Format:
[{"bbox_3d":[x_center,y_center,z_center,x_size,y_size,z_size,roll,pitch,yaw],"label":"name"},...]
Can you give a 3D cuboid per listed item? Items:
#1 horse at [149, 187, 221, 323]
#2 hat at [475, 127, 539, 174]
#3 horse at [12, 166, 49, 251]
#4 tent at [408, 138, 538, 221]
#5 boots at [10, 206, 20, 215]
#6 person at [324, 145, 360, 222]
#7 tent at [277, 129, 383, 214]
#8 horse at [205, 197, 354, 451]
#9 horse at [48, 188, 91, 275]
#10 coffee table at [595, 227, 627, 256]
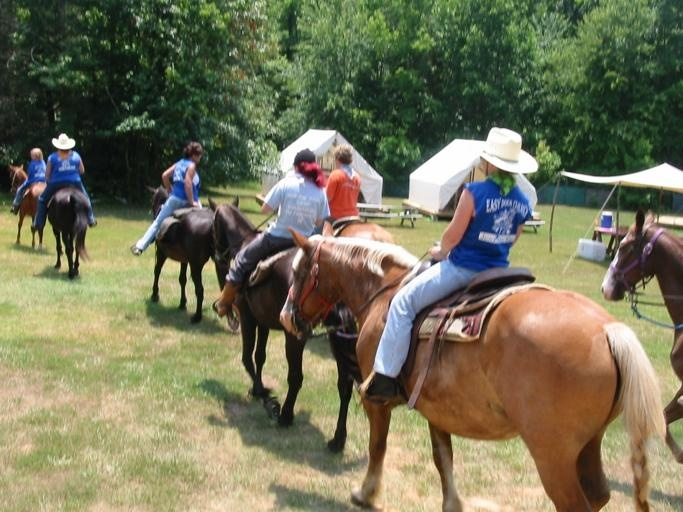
[{"bbox_3d":[-5.057,-0.237,37.228,1.885,4.263,2.149,-3,16,-27],"label":"horse"},{"bbox_3d":[4.552,-2.824,30.719,1.215,1.438,0.896,-6,14,-31],"label":"hat"},{"bbox_3d":[-12.251,-2.136,43.664,1.283,4.392,1.887,1,1,15],"label":"horse"},{"bbox_3d":[6.236,-3.977,55.925,4.486,3.400,4.847,1,6,-27],"label":"tent"},{"bbox_3d":[-12.465,-1.729,42.898,0.276,0.339,0.291,3,0,15],"label":"boots"},{"bbox_3d":[-0.056,-2.209,35.045,0.873,2.590,0.841,-3,10,-33],"label":"person"},{"bbox_3d":[-0.068,-4.690,54.893,3.380,3.166,4.902,1,0,-17],"label":"tent"},{"bbox_3d":[-1.046,1.185,36.635,2.317,7.645,9.620,-3,20,-32],"label":"horse"},{"bbox_3d":[-9.580,-0.844,39.800,1.118,3.027,2.478,-2,10,-32],"label":"horse"},{"bbox_3d":[11.207,-0.761,46.925,0.993,1.150,1.576,2,3,-2],"label":"coffee table"}]
